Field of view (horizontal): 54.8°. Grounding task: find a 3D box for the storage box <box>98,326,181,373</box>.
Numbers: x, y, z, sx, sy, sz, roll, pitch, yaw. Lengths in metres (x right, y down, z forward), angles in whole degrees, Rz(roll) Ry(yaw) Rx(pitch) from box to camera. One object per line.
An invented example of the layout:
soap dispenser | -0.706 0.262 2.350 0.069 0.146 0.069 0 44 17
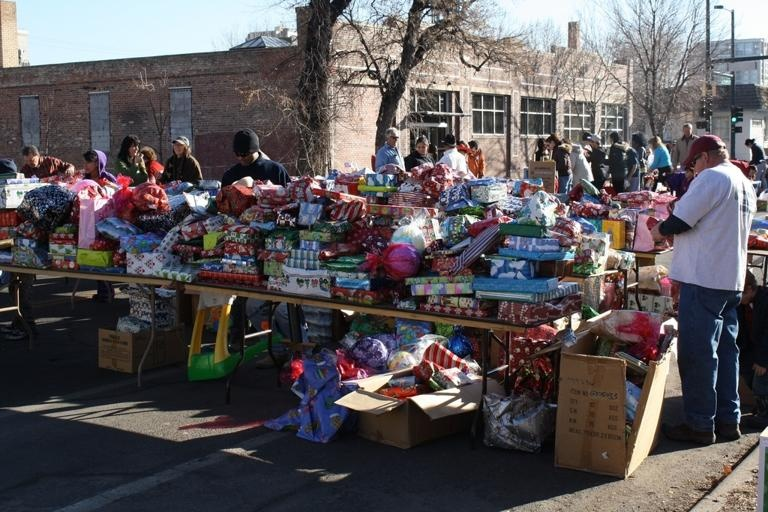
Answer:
storage box | -2.918 1.099 8.772 0.644 0.429 0.678 1 1 32

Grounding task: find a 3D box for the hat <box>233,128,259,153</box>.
hat | -1.710 -1.401 9.179 0.285 0.319 0.294 -2 7 -16

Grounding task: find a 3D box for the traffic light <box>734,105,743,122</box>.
traffic light | 14.991 -5.979 31.415 0.229 0.634 0.910 4 8 32

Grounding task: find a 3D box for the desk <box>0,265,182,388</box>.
desk | -3.437 0.746 9.244 2.220 1.162 1.299 4 -2 23

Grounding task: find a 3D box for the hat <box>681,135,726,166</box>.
hat | 3.072 -1.065 7.104 0.270 0.149 0.202 12 2 38

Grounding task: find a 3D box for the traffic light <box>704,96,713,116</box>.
traffic light | 12.598 -5.829 28.924 0.180 0.748 0.427 1 7 9

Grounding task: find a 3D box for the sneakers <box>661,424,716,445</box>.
sneakers | 2.830 1.642 6.925 0.449 0.216 0.187 6 8 42

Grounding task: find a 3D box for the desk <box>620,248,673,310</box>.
desk | 3.279 0.371 9.486 0.689 0.689 0.676 8 6 -24

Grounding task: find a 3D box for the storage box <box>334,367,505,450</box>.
storage box | 0.339 1.459 6.834 0.972 0.335 0.762 -2 3 -44

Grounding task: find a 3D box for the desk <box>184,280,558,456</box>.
desk | -0.376 0.865 7.742 3.022 0.745 1.440 5 -2 30
